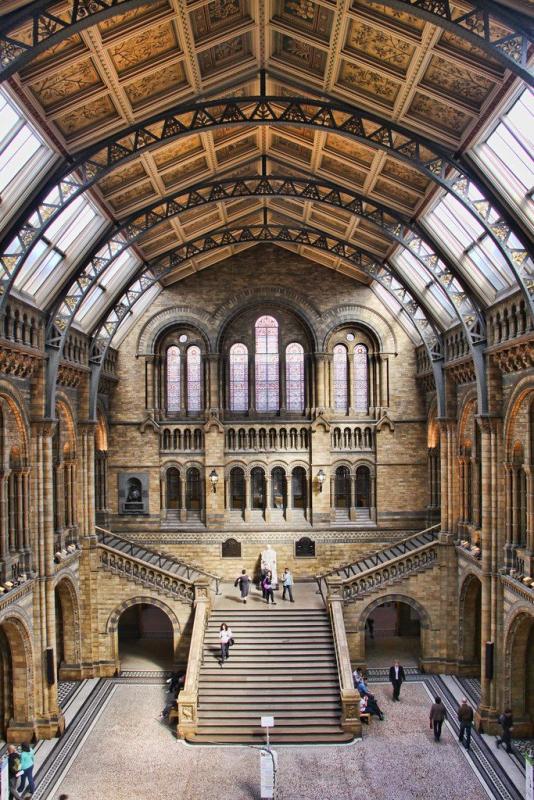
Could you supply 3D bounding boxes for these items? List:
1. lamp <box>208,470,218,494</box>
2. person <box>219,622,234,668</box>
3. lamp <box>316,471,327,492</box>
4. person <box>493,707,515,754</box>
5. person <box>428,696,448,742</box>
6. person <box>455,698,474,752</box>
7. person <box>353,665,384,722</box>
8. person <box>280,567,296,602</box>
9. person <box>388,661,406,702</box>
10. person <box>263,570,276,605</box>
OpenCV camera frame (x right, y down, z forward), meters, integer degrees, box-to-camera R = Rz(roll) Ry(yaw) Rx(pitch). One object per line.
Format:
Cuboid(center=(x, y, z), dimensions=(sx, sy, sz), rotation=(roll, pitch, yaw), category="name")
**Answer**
Cuboid(center=(-2.371, 3.581, 28.226), dimensions=(0.412, 0.994, 0.481), rotation=(0, -6, -7), category="lamp")
Cuboid(center=(-1.393, 7.968, 21.334), dimensions=(0.448, 1.309, 0.938), rotation=(0, -6, -5), category="person")
Cuboid(center=(2.310, 3.553, 28.412), dimensions=(0.388, 1.030, 0.353), rotation=(-1, -6, 1), category="lamp")
Cuboid(center=(6.346, 8.774, 17.361), dimensions=(0.426, 1.075, 1.001), rotation=(-3, -6, 19), category="person")
Cuboid(center=(4.818, 8.968, 18.398), dimensions=(0.395, 1.130, 1.444), rotation=(-2, -6, 15), category="person")
Cuboid(center=(5.390, 8.798, 17.679), dimensions=(0.387, 1.300, 0.815), rotation=(-2, -6, 15), category="person")
Cuboid(center=(3.040, 9.046, 19.628), dimensions=(0.898, 1.213, 1.432), rotation=(-1, -6, 7), category="person")
Cuboid(center=(0.755, 7.223, 25.131), dimensions=(0.464, 1.074, 1.128), rotation=(-1, -6, 1), category="person")
Cuboid(center=(4.260, 9.100, 21.383), dimensions=(0.401, 1.290, 1.604), rotation=(-2, -6, 11), category="person")
Cuboid(center=(0.028, 7.230, 24.810), dimensions=(0.446, 1.072, 0.914), rotation=(-1, -6, -1), category="person")
